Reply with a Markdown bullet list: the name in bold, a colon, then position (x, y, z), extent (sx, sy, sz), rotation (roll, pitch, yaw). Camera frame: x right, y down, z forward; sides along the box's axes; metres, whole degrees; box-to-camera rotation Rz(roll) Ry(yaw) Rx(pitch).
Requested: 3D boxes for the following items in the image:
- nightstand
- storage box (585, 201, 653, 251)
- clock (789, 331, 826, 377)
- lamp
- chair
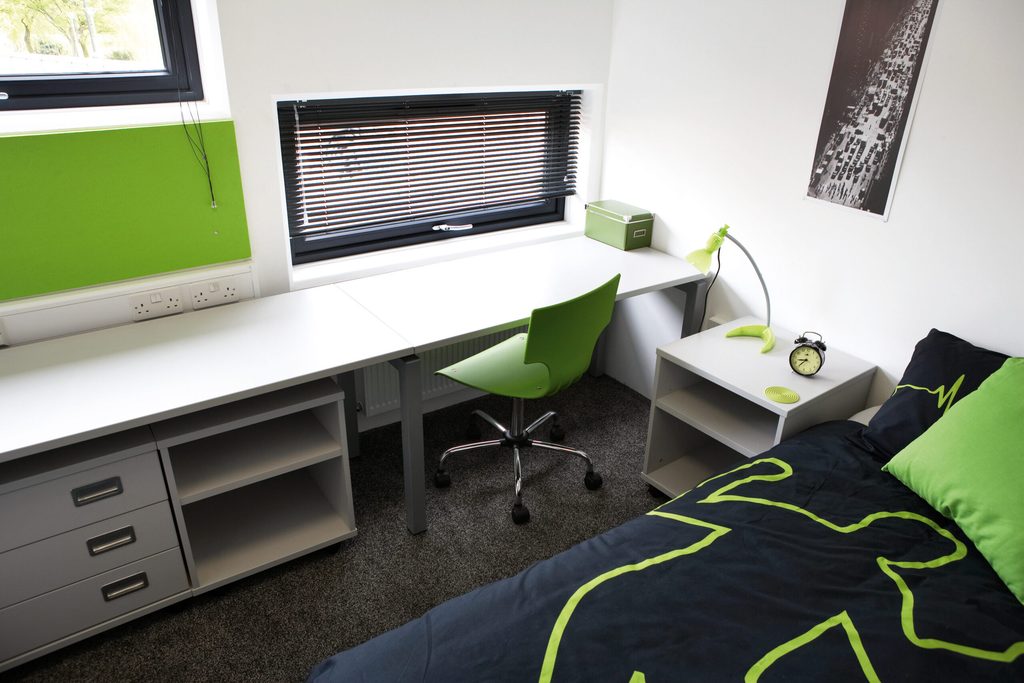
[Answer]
- **nightstand**: position (1.208, 0.395, 3.325), extent (0.847, 0.791, 0.912), rotation (23, 35, 38)
- **storage box**: position (0.615, -0.681, 3.890), extent (0.240, 0.191, 0.397), rotation (-16, 29, -33)
- **clock**: position (1.324, 0.057, 3.007), extent (0.137, 0.196, 0.101), rotation (12, 24, 25)
- **lamp**: position (1.111, -0.274, 3.386), extent (0.459, 0.647, 0.312), rotation (-4, 44, 13)
- **chair**: position (0.017, 0.214, 3.222), extent (0.692, 0.902, 0.594), rotation (9, 19, 29)
